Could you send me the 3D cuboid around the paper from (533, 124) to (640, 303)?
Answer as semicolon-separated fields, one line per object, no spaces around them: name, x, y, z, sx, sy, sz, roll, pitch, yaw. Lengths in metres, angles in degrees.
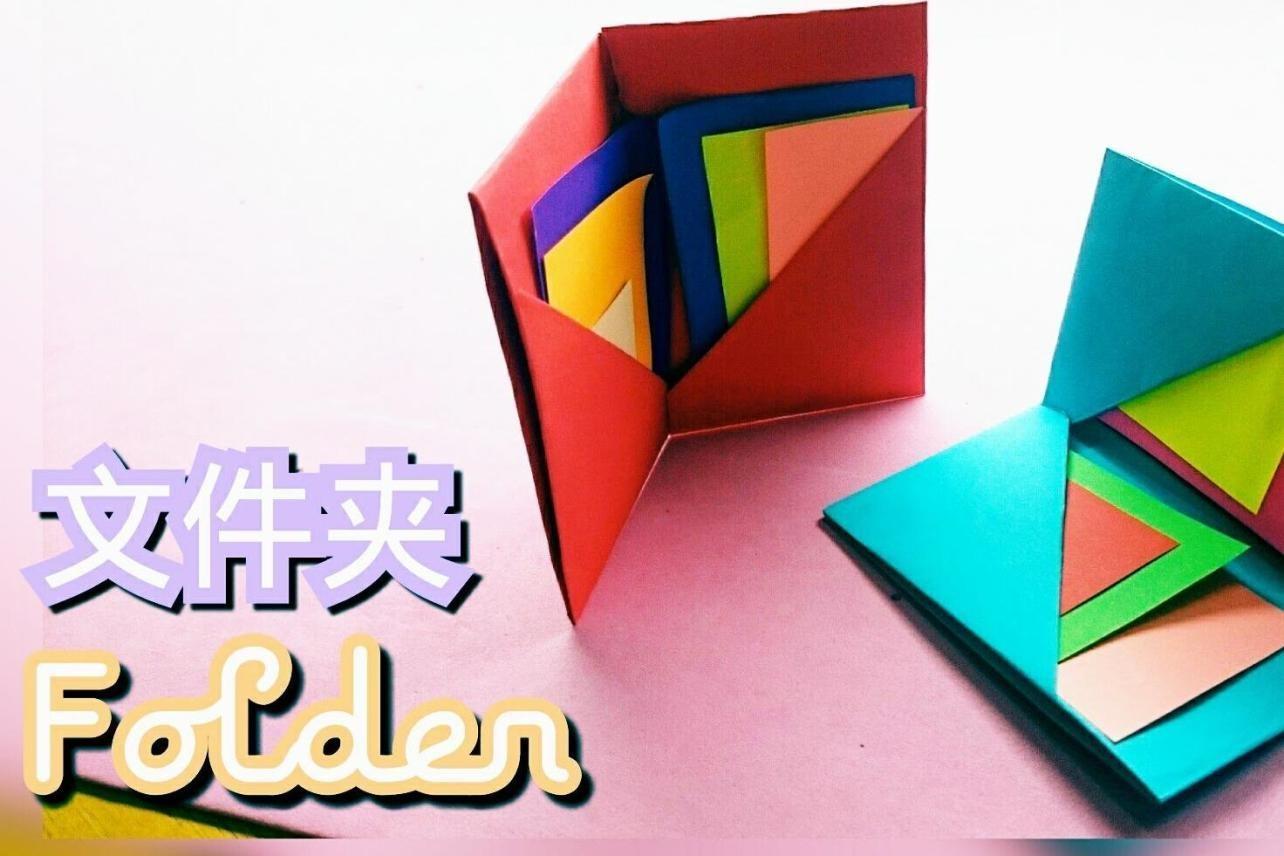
paper;-0.083;-0.318;1.624;0.032;0.273;0.191;29;-28;23

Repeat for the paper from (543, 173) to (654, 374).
paper;-0.079;-0.205;1.692;0.030;0.296;0.292;11;21;36
